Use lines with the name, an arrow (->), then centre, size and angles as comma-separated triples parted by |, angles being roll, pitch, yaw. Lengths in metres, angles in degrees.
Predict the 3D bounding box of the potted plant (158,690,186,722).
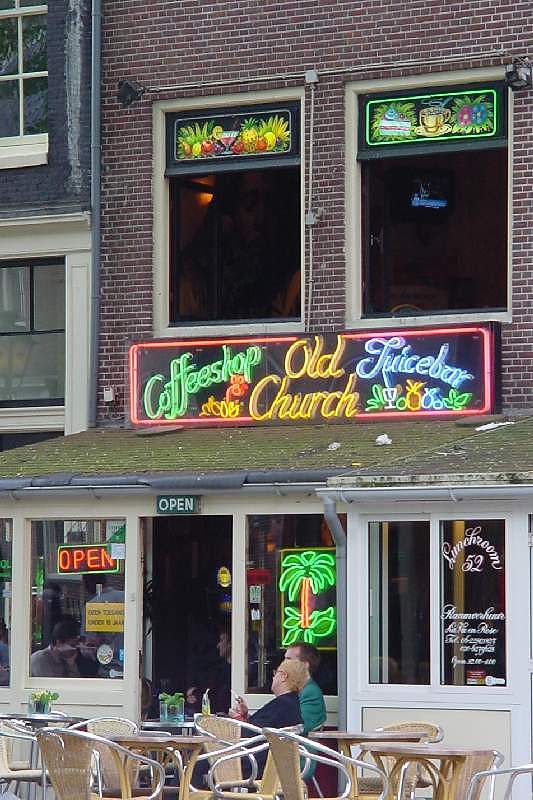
potted plant -> -0.762, 2.282, 18.412 | 0.178, 0.259, 0.206 | -5, -8, 26

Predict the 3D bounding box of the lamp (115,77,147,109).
lamp -> -1.289, -2.602, 21.593 | 0.199, 0.249, 0.061 | 2, 26, 10

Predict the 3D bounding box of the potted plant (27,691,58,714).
potted plant -> -1.783, 2.258, 18.532 | 0.137, 0.233, 0.238 | 0, -6, 20

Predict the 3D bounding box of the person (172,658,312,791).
person -> -0.146, 2.493, 17.985 | 0.639, 1.394, 0.578 | 12, -8, 18
